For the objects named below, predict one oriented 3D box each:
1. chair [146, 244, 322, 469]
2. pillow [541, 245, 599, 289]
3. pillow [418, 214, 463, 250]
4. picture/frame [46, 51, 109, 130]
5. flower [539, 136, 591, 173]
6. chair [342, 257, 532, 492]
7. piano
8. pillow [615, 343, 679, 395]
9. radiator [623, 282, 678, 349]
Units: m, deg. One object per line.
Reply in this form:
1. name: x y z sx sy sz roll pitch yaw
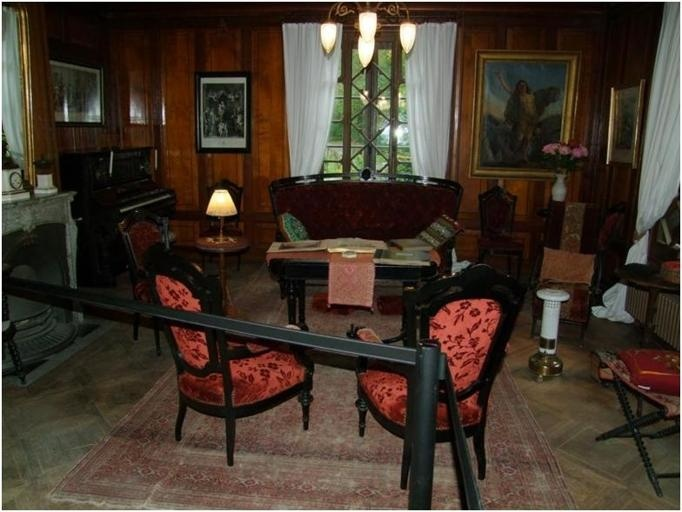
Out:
1. chair: -0.821 0.818 3.799 1.046 1.755 1.230 16 25 34
2. pillow: 2.558 0.127 5.558 0.472 0.498 0.181 13 0 17
3. pillow: 1.266 -0.254 6.126 0.518 0.155 0.380 -35 54 -13
4. picture/frame: -4.056 -2.461 7.508 1.629 0.969 0.057 16 19 34
5. flower: 3.352 -1.503 7.379 0.607 0.439 0.609 -2 14 4
6. chair: 0.596 0.786 3.214 1.020 1.593 0.665 6 17 20
7. piano: -2.898 -0.487 6.187 0.750 1.663 1.769 0 18 2
8. pillow: 2.291 0.835 3.638 0.323 0.098 0.321 -5 13 -2
9. radiator: 3.472 0.640 5.390 0.133 0.552 0.501 -6 10 -10
